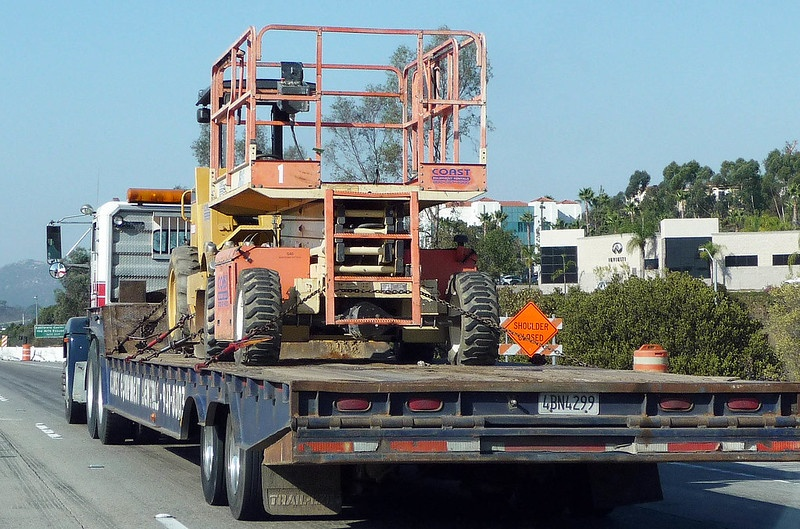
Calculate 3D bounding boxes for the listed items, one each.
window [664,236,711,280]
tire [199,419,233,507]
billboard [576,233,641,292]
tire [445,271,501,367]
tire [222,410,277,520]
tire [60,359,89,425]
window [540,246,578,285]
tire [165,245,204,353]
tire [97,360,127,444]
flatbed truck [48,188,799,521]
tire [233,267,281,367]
[{"bbox_3d":[19.839,-0.336,94.447,3.164,3.004,1.636,0,0,9],"label":"window"},{"bbox_3d":[-2.731,3.032,20.915,0.439,1.483,1.459,0,-1,-12],"label":"tire"},{"bbox_3d":[14.725,-0.092,96.954,2.514,3.173,4.370,0,-1,-30],"label":"billboard"},{"bbox_3d":[1.185,0.964,22.467,0.582,1.493,1.473,1,-3,-9],"label":"tire"},{"bbox_3d":[-2.093,2.910,19.784,0.504,1.727,1.703,-2,4,-10],"label":"tire"},{"bbox_3d":[-6.836,2.778,29.375,0.473,1.481,1.458,-1,-4,-11],"label":"tire"},{"bbox_3d":[13.347,0.339,115.600,3.010,3.067,0.115,-4,-13,12],"label":"window"},{"bbox_3d":[-3.843,0.689,25.107,0.617,2.050,1.997,0,1,-12],"label":"tire"},{"bbox_3d":[-5.413,2.688,26.331,0.529,1.802,1.768,1,0,-18],"label":"tire"},{"bbox_3d":[-2.002,1.131,23.155,16.968,4.887,7.093,-1,0,37],"label":"flatbed truck"},{"bbox_3d":[-2.200,0.890,21.661,0.486,1.497,1.475,2,1,-10],"label":"tire"}]
